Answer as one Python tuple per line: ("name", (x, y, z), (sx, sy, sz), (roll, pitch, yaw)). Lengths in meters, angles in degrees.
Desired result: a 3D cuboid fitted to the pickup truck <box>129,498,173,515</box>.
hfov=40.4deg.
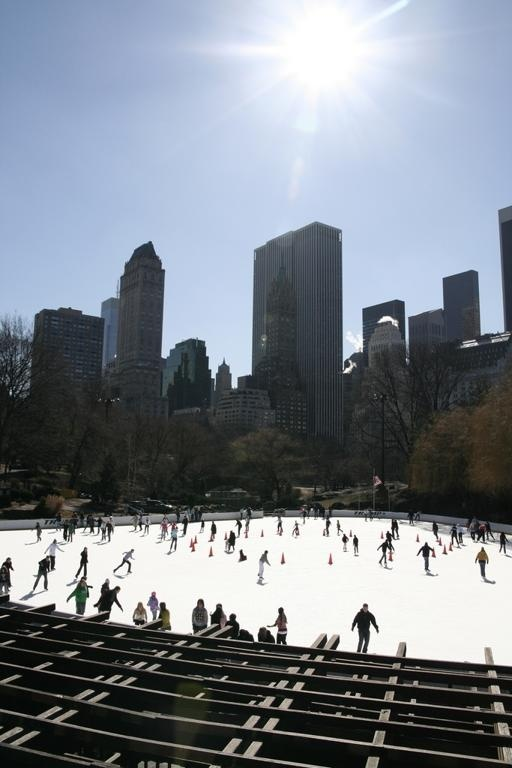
("pickup truck", (-7.983, 9.487, 53.162), (3.170, 1.240, 1.482), (-2, -11, 5))
